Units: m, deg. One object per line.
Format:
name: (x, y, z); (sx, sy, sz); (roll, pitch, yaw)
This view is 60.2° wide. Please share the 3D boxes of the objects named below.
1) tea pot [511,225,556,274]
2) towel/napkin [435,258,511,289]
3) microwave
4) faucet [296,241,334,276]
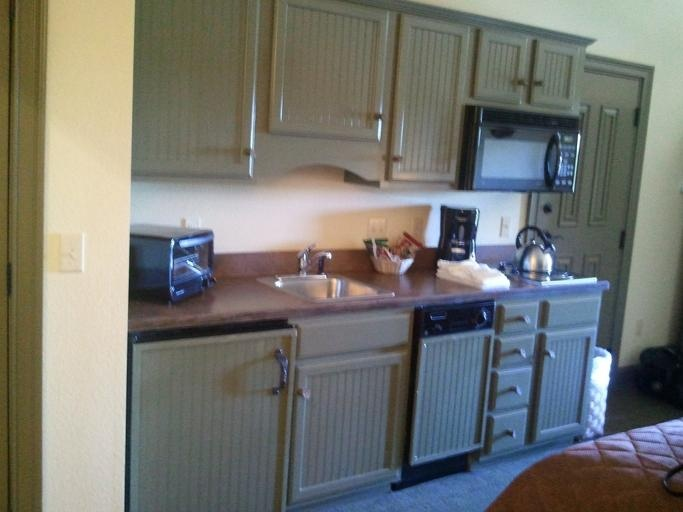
tea pot: (1.118, -0.024, 3.456); (0.204, 0.313, 0.290); (6, -5, -32)
towel/napkin: (0.717, 0.096, 3.258); (0.207, 0.106, 0.448); (-8, 14, -34)
microwave: (0.981, -0.594, 3.519); (0.627, 0.517, 0.492); (2, 10, -23)
faucet: (-0.138, 0.012, 3.197); (0.196, 0.194, 0.268); (-1, 11, -2)
